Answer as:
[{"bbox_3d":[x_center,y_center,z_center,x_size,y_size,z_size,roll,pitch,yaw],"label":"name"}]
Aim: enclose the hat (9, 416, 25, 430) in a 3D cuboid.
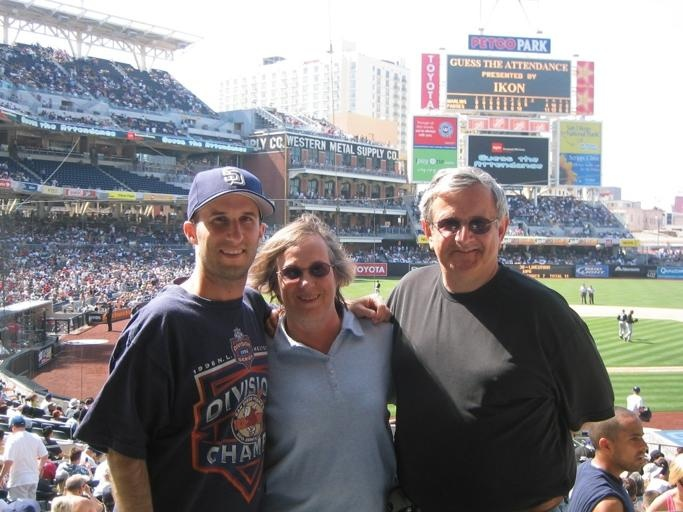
[{"bbox_3d":[-4.843,2.490,11.384,0.212,0.223,0.160,9,-1,30],"label":"hat"}]
